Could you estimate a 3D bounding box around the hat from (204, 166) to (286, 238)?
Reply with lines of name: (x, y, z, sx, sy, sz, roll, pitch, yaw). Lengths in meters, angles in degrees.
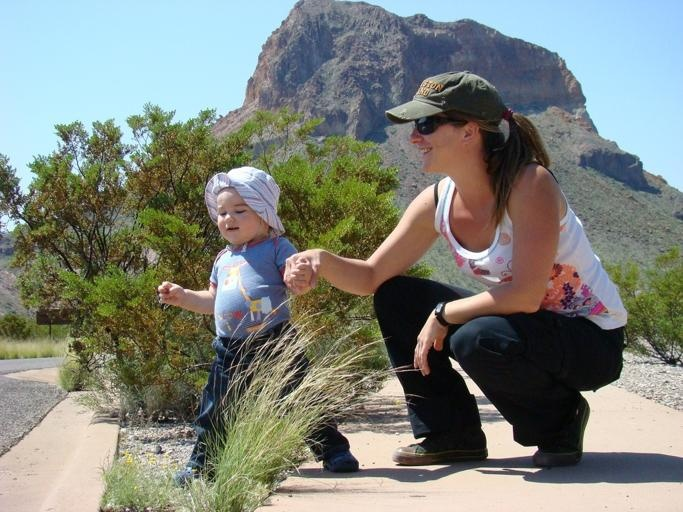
hat: (-0.519, -0.371, 3.155, 0.401, 0.290, 0.461, -10, -47, 36)

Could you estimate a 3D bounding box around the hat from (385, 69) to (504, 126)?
hat: (0.571, -0.813, 2.771, 0.491, 0.250, 0.335, 5, 4, 0)

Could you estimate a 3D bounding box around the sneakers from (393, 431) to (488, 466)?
sneakers: (0.545, 1.053, 2.887, 0.490, 0.214, 0.197, 1, -7, 2)

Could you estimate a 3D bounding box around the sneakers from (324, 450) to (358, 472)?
sneakers: (-0.001, 1.070, 2.682, 0.204, 0.094, 0.082, -10, -56, 15)

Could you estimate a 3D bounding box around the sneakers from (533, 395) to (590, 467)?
sneakers: (1.119, 0.937, 2.656, 0.191, 0.454, 0.165, 47, -29, -19)
